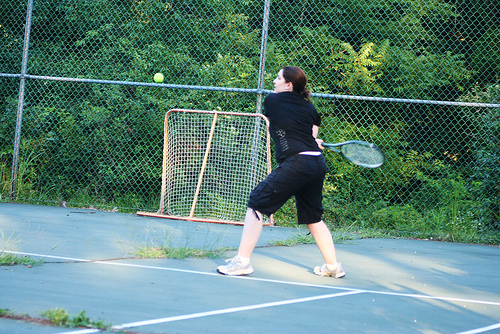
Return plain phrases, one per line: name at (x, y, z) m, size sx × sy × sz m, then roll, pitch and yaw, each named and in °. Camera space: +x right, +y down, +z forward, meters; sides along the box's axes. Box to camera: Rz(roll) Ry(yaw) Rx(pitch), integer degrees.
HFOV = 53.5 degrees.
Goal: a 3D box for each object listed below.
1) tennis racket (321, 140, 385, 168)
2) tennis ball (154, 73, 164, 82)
tennis racket at (1.477, -0.233, 6.947) m, size 0.975 × 0.368 × 0.050 m, roll 17°, pitch 25°, yaw -13°
tennis ball at (-1.816, -1.715, 9.535) m, size 0.160 × 0.152 × 0.254 m, roll 2°, pitch 12°, yaw -12°
